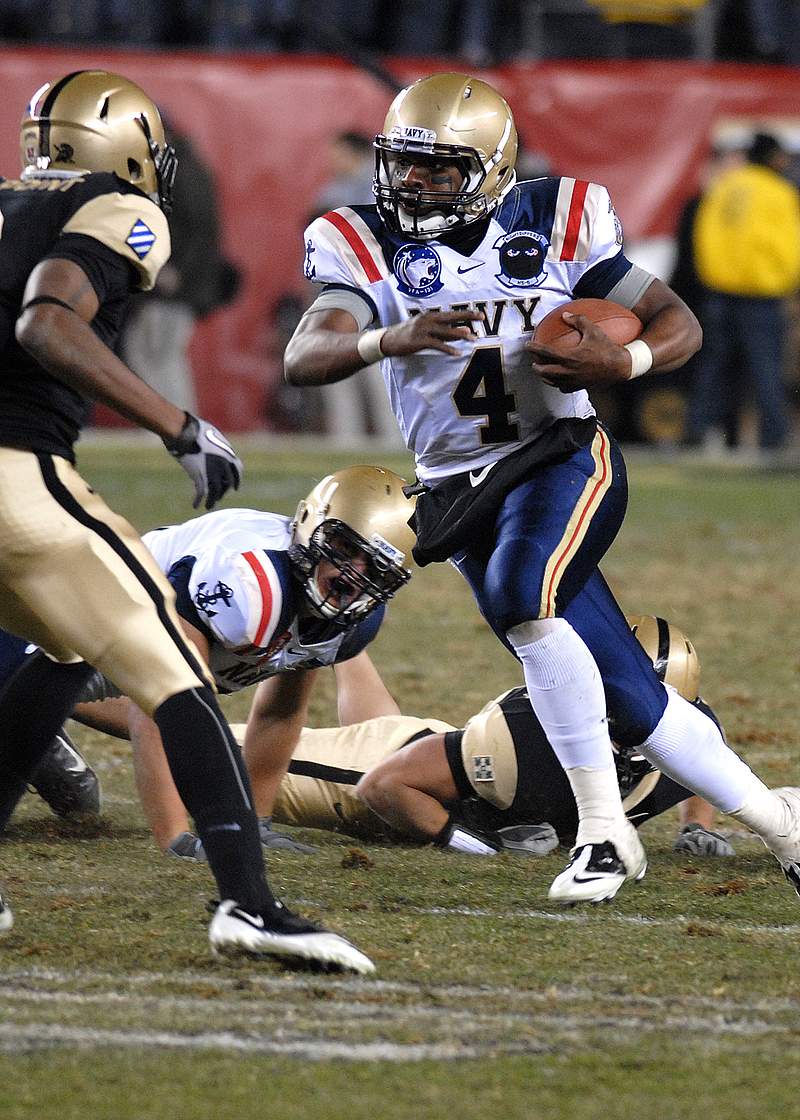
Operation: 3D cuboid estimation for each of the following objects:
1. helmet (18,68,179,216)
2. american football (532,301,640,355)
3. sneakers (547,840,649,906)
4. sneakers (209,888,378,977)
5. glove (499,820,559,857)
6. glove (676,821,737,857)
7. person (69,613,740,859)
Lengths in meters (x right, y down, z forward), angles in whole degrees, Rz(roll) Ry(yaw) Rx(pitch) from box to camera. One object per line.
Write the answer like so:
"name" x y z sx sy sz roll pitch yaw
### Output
"helmet" -0.470 -0.655 1.993 0.231 0.223 0.281 18 20 38
"american football" 0.335 -0.422 2.261 0.208 0.098 0.115 -3 25 -23
"sneakers" 0.347 0.538 2.182 0.070 0.075 0.189 -6 1 40
"sneakers" -0.147 0.518 1.749 0.276 0.095 0.078 9 -33 -5
"glove" 0.255 0.569 2.581 0.151 0.053 0.043 8 24 -5
"glove" 0.616 0.563 2.557 0.070 0.029 0.078 14 4 -9
"person" -0.045 0.355 2.708 1.195 0.338 0.580 0 -10 28
